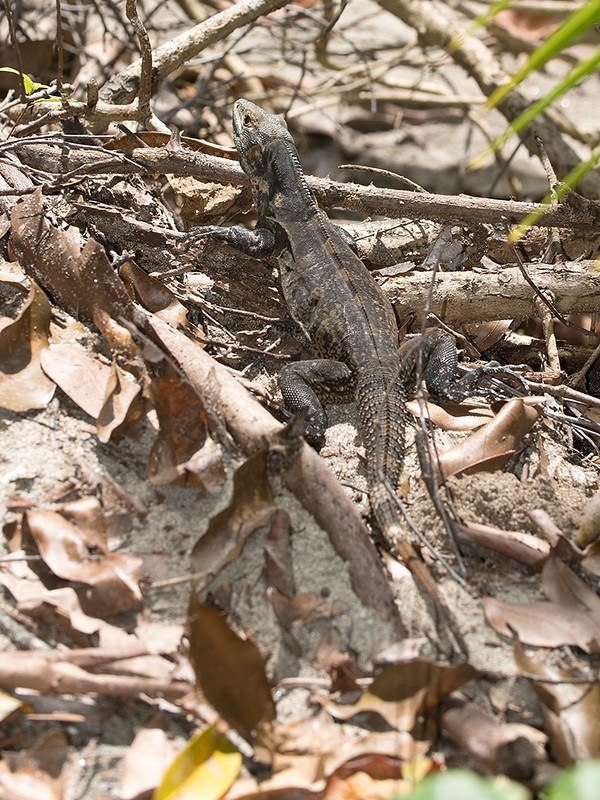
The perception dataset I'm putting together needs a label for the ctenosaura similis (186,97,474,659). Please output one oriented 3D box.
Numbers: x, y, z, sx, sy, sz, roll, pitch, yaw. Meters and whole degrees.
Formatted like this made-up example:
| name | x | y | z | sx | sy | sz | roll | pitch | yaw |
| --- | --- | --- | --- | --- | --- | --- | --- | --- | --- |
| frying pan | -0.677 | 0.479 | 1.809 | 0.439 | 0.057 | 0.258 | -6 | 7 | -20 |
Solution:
| name | x | y | z | sx | sy | sz | roll | pitch | yaw |
| --- | --- | --- | --- | --- | --- | --- | --- | --- | --- |
| ctenosaura similis | 0.063 | -0.216 | 3.284 | 0.785 | 0.302 | 1.932 | -3 | 49 | -24 |
